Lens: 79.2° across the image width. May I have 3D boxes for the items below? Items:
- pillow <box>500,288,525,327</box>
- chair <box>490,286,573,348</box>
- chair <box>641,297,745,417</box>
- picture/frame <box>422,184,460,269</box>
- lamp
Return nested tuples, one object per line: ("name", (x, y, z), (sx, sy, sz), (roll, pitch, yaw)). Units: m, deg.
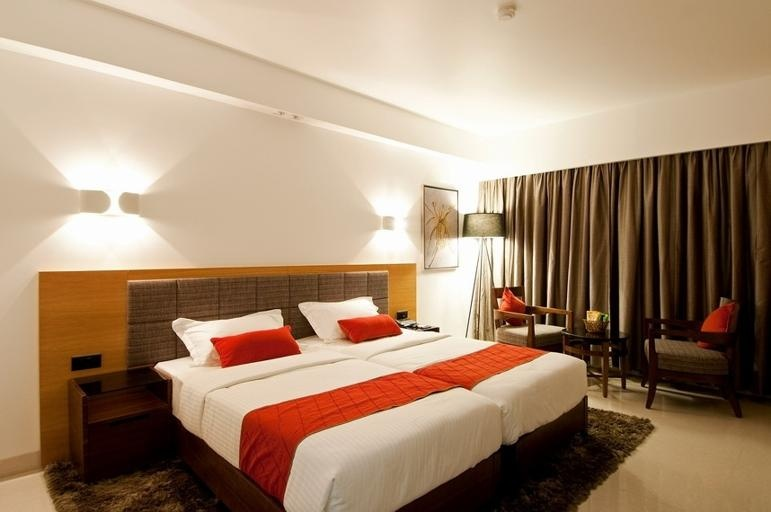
("pillow", (1.742, 0.718, 6.458), (0.347, 0.420, 0.189), (27, -38, -22))
("chair", (1.976, 0.997, 6.437), (0.835, 1.204, 0.853), (-1, 1, -27))
("chair", (3.524, 1.065, 5.492), (1.160, 1.145, 1.159), (-2, 4, -34))
("picture/frame", (0.845, -0.447, 7.077), (0.261, 1.290, 0.943), (8, 14, 37))
("lamp", (1.638, 0.271, 7.581), (0.691, 2.119, 0.671), (-1, 23, 8))
